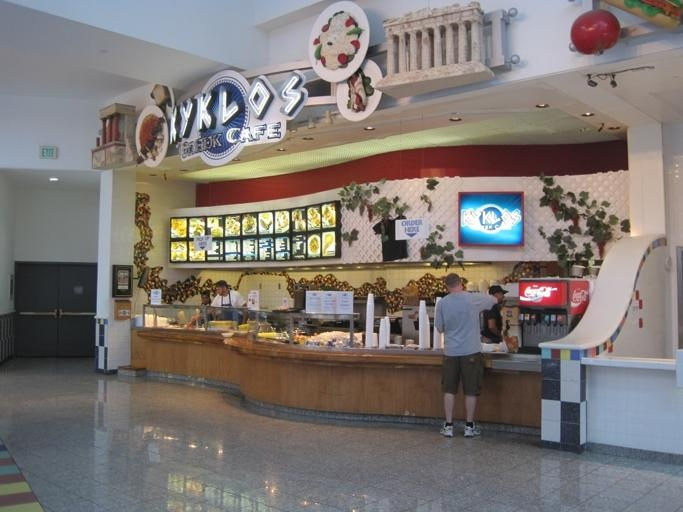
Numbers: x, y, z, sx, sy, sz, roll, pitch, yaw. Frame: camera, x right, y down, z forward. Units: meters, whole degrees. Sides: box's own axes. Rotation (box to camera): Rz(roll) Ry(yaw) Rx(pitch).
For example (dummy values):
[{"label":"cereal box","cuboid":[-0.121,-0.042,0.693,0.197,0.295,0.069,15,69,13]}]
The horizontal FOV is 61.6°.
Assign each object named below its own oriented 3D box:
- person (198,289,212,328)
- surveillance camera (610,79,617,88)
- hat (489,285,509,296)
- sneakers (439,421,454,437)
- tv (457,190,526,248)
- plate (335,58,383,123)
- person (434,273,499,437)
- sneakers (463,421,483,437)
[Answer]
[{"label":"person","cuboid":[-2.480,0.945,10.435,0.229,0.575,0.990,1,-3,-13]},{"label":"surveillance camera","cuboid":[3.107,-1.975,6.551,0.060,0.075,0.069,-3,24,16]},{"label":"hat","cuboid":[2.332,0.501,8.471,0.330,0.119,0.219,1,0,-34]},{"label":"sneakers","cuboid":[1.217,2.009,6.657,0.106,0.142,0.213,1,-1,2]},{"label":"tv","cuboid":[2.434,-0.583,9.137,0.938,0.765,0.099,0,-5,28]},{"label":"plate","cuboid":[0.227,-2.215,7.639,0.714,0.782,0.138,-2,-4,39]},{"label":"person","cuboid":[1.411,1.143,6.662,0.619,1.877,0.261,0,-4,8]},{"label":"sneakers","cuboid":[1.532,2.002,6.669,0.117,0.134,0.291,1,2,26]}]
